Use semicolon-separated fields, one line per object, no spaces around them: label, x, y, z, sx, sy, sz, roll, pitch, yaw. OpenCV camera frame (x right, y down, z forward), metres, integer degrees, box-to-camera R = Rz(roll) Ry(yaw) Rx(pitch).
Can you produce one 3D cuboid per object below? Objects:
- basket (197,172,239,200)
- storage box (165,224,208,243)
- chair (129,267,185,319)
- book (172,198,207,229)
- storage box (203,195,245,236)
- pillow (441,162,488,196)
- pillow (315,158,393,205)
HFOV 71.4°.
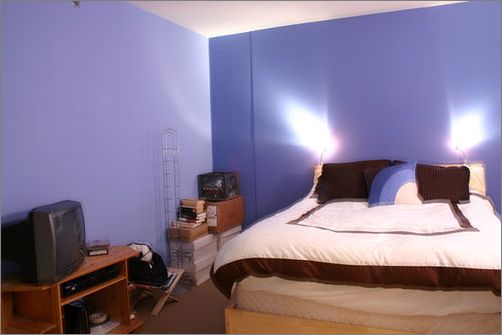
basket;-0.461;0.225;4.951;0.414;0.329;0.413;-1;0;23
storage box;-0.763;0.818;4.392;0.271;0.105;0.260;-2;1;35
chair;-1.033;1.334;3.801;0.434;0.296;0.448;-1;-1;-6
book;-0.809;0.608;4.515;0.423;0.305;0.319;-4;-8;22
storage box;-0.355;0.657;4.728;0.366;0.355;0.689;-1;1;25
pillow;2.664;0.164;4.172;0.398;0.440;0.138;2;-15;16
pillow;1.139;0.165;4.198;0.617;0.652;0.194;-3;-23;21
